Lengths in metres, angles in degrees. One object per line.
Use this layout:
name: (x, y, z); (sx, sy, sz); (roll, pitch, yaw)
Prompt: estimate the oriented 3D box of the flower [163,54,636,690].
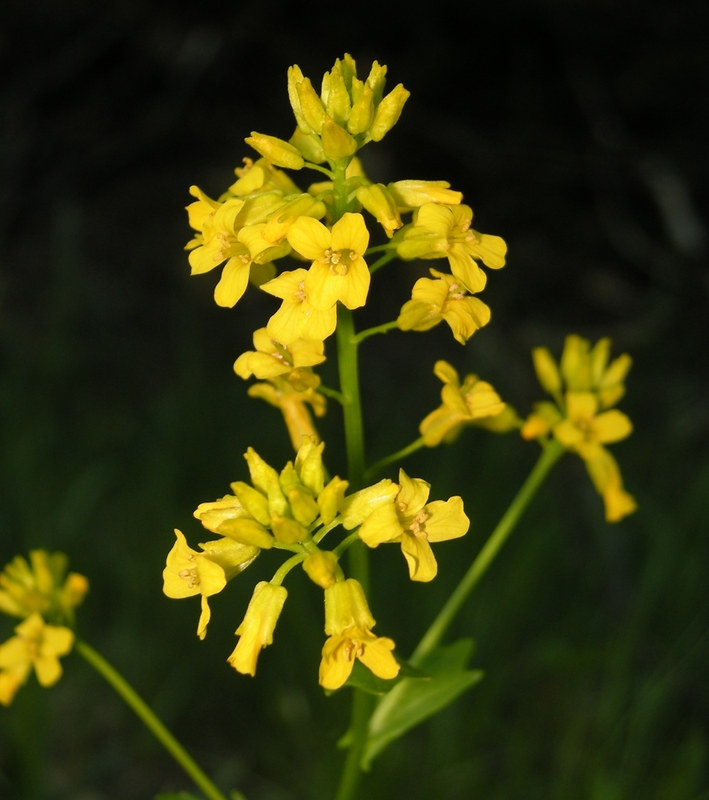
flower: (0.032, -0.013, 0.914); (0.480, 0.602, 0.297); (18, -21, -35)
